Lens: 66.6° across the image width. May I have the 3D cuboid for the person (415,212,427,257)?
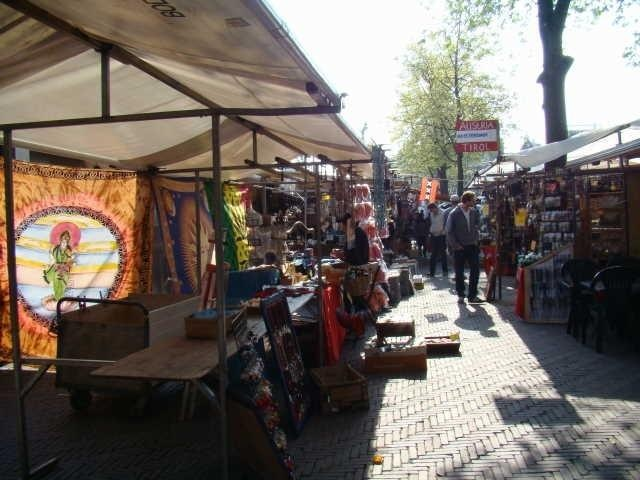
[{"bbox_3d":[4.128,-0.246,20.181,0.565,0.792,1.758,3,-26,17],"label":"person"}]

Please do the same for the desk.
[{"bbox_3d":[-0.978,1.441,4.898,1.489,1.488,1.999,-3,6,2],"label":"desk"}]

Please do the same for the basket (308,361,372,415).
[{"bbox_3d":[0.205,1.817,6.090,0.638,0.344,0.822,-6,3,-17],"label":"basket"}]

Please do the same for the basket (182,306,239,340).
[{"bbox_3d":[-0.984,0.841,5.124,0.509,0.221,0.700,-5,2,23],"label":"basket"}]

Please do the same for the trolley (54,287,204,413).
[{"bbox_3d":[-2.262,1.411,6.793,1.281,1.410,2.264,-2,-4,16],"label":"trolley"}]

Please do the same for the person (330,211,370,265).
[{"bbox_3d":[0.602,0.006,9.192,0.789,1.107,0.829,2,2,20],"label":"person"}]

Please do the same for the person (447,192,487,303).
[{"bbox_3d":[3.144,0.160,10.707,0.653,2.436,0.811,-1,7,17],"label":"person"}]

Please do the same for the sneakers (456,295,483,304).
[{"bbox_3d":[3.296,1.313,10.772,0.604,0.252,0.203,-2,2,0],"label":"sneakers"}]
